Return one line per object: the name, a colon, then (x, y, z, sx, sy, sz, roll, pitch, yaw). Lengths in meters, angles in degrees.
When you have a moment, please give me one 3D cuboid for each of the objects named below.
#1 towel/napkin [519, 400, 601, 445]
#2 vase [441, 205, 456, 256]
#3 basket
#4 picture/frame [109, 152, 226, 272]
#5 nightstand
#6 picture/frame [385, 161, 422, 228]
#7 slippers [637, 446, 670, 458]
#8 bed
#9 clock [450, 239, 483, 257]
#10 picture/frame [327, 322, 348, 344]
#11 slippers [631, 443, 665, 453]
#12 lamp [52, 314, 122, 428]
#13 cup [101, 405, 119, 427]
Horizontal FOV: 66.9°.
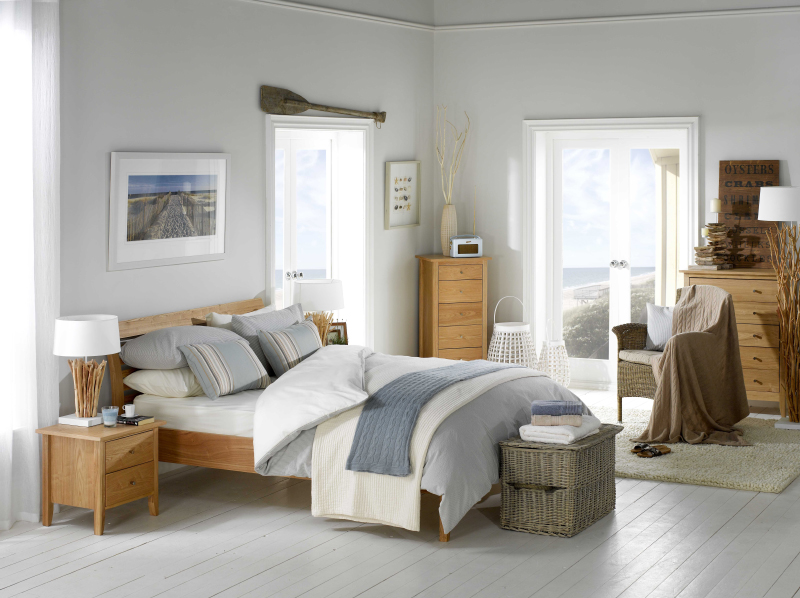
towel/napkin: (0.893, 0.709, 3.450, 0.290, 0.121, 0.368, -1, 1, 13)
vase: (0.540, -0.764, 6.757, 0.161, 0.574, 0.304, -1, 1, 7)
basket: (0.889, 1.042, 3.705, 0.788, 0.461, 0.788, -1, 1, 7)
picture/frame: (-1.749, -0.645, 4.446, 0.022, 0.682, 1.032, 6, 8, 28)
nightstand: (-1.822, 1.072, 3.697, 0.519, 0.454, 0.582, -4, -9, 28)
picture/frame: (0.011, -1.147, 6.601, 0.089, 0.694, 0.802, 4, 8, 29)
slippers: (1.959, 1.174, 4.692, 0.159, 0.033, 0.109, 0, 1, -29)
bed: (-0.520, 0.756, 3.852, 2.193, 0.757, 1.487, 4, 11, 21)
clock: (0.714, -0.557, 6.597, 0.333, 0.173, 0.216, -1, 3, -18)
picture/frame: (-0.593, 0.321, 5.566, 0.083, 0.200, 0.225, 1, 4, 37)
slippers: (1.932, 1.159, 4.724, 0.161, 0.041, 0.088, 0, 2, 10)
lamp: (-1.918, 0.428, 3.689, 0.338, 0.463, 0.526, -2, 2, -29)
cup: (-1.738, 0.705, 3.643, 0.126, 0.120, 0.118, 1, 0, 0)
